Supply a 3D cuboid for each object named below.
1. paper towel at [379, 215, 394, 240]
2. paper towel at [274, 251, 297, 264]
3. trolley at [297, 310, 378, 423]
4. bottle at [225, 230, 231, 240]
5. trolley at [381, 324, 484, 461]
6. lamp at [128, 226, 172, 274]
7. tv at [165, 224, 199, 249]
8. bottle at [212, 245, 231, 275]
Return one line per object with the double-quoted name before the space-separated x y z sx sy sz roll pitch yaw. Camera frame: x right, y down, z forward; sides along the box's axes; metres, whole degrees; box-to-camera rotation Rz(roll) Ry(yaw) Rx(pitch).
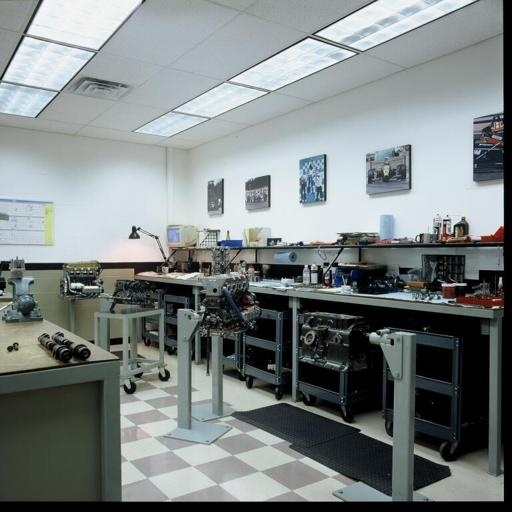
"paper towel" 1.087 -0.251 3.626 0.136 0.223 0.145 0 0 29
"paper towel" 0.283 0.012 4.554 0.200 0.137 0.559 0 0 -18
"trolley" 0.688 0.776 3.391 0.490 0.806 0.580 4 1 -41
"bottle" -0.359 -0.286 5.610 0.057 0.123 0.224 0 0 -6
"trolley" 1.192 0.902 2.784 0.464 0.845 0.404 8 2 43
"lamp" -1.492 -0.109 6.055 0.569 0.667 0.571 0 0 -13
"tv" -1.006 -0.268 5.938 0.386 0.272 0.360 1 0 39
"bottle" -0.243 0.031 3.027 0.109 0.192 0.109 0 0 0
